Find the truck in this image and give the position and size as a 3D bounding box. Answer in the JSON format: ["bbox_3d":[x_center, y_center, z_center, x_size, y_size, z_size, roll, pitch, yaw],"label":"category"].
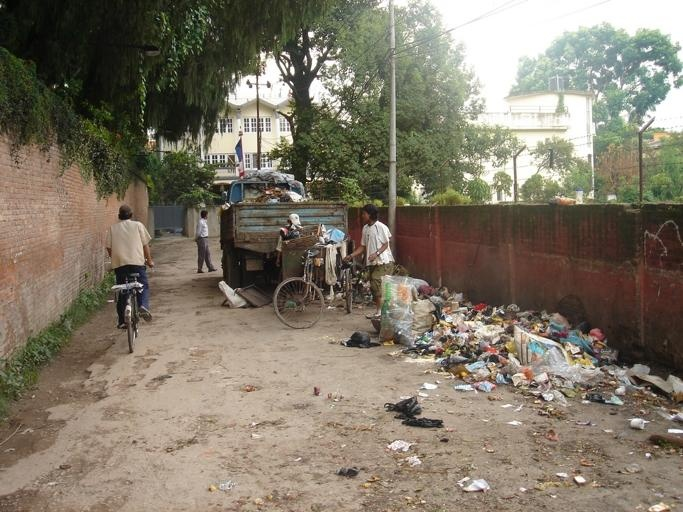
[{"bbox_3d":[-1.741,-0.579,14.442,2.146,2.116,4.081,0,5,-11],"label":"truck"}]

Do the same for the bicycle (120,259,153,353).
[{"bbox_3d":[-3.285,0.862,9.059,0.319,1.129,1.055,-4,10,-9],"label":"bicycle"}]

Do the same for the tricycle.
[{"bbox_3d":[-0.433,0.453,11.008,1.063,1.557,2.578,6,10,32],"label":"tricycle"}]

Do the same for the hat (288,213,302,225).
[{"bbox_3d":[-1.013,-0.774,12.285,0.183,0.151,0.277,1,22,-31],"label":"hat"}]

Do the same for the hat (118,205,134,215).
[{"bbox_3d":[-3.489,-0.707,9.369,0.224,0.205,0.314,3,11,-13],"label":"hat"}]

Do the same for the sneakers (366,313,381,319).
[{"bbox_3d":[0.523,1.030,9.838,0.289,0.119,0.108,2,-1,23],"label":"sneakers"}]
